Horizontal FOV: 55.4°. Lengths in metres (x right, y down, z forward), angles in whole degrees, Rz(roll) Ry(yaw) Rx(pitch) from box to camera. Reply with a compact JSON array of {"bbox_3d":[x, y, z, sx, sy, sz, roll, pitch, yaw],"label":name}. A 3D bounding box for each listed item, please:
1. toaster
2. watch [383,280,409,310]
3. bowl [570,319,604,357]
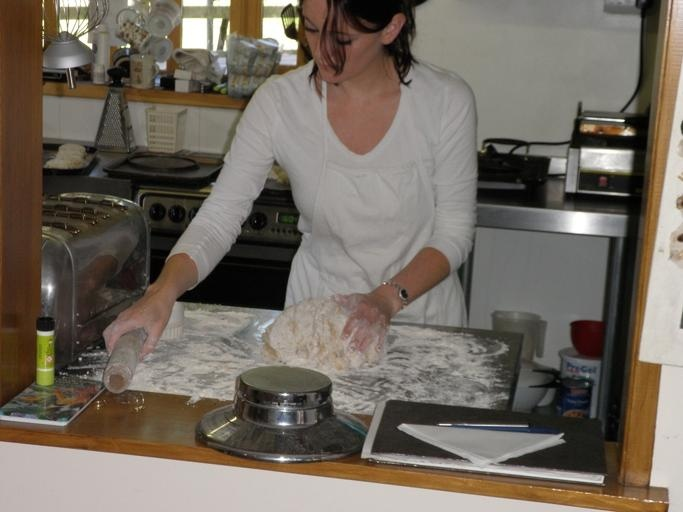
[{"bbox_3d":[-0.599,0.040,1.408,0.232,0.273,0.452,7,13,4],"label":"toaster"},{"bbox_3d":[0.126,0.084,1.500,0.023,0.060,0.058,-33,49,-19],"label":"watch"},{"bbox_3d":[0.953,0.326,2.558,0.125,0.100,0.133,5,-13,1],"label":"bowl"}]
